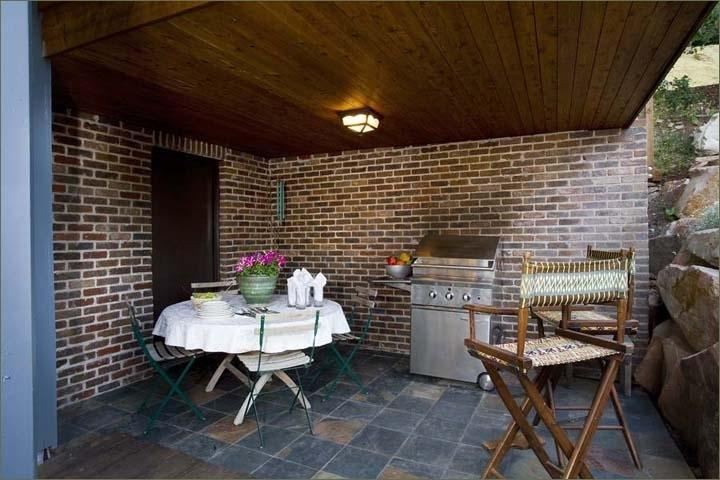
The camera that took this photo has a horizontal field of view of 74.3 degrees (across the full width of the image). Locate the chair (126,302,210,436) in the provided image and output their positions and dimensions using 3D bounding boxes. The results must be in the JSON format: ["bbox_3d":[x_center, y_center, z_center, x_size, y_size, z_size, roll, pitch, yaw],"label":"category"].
[{"bbox_3d":[-2.131,1.412,5.329,0.924,1.106,0.813,-2,1,-14],"label":"chair"}]

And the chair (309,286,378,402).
[{"bbox_3d":[-0.224,1.267,6.076,0.933,1.169,0.829,-8,4,-32],"label":"chair"}]

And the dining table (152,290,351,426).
[{"bbox_3d":[-1.173,1.390,5.325,1.921,0.838,1.776,-6,-15,32],"label":"dining table"}]

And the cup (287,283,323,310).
[{"bbox_3d":[-0.584,0.636,5.455,0.349,0.351,0.295,2,3,20],"label":"cup"}]

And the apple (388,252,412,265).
[{"bbox_3d":[0.551,0.279,6.637,0.251,0.113,0.197,-2,-6,7],"label":"apple"}]

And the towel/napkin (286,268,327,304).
[{"bbox_3d":[-0.537,0.537,5.466,0.455,0.400,0.459,-2,-3,26],"label":"towel/napkin"}]

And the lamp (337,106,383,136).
[{"bbox_3d":[-0.004,-1.377,5.521,0.301,0.150,0.330,-1,0,15],"label":"lamp"}]

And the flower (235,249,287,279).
[{"bbox_3d":[-1.184,0.290,5.575,0.396,0.230,0.426,-1,1,-16],"label":"flower"}]

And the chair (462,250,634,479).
[{"bbox_3d":[1.691,1.078,4.032,1.114,2.083,1.244,12,18,41],"label":"chair"}]

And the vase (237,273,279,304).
[{"bbox_3d":[-1.139,0.562,5.406,0.395,0.233,0.375,3,-6,-29],"label":"vase"}]
